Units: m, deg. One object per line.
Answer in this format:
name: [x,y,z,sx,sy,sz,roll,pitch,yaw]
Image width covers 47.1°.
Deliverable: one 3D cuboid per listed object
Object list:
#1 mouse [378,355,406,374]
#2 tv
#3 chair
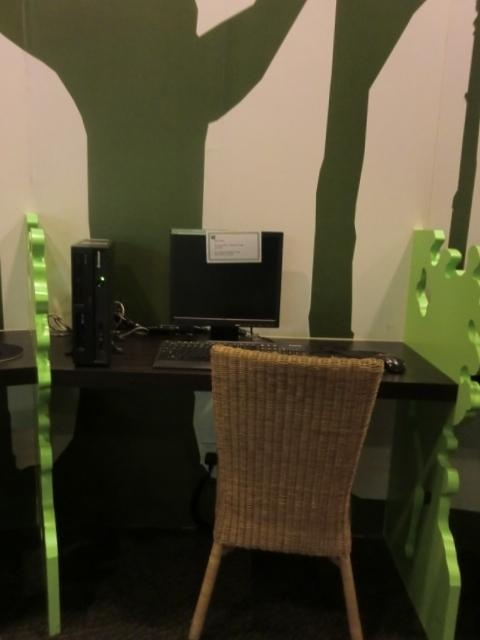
mouse: [0.437,0.130,1.566,0.050,0.042,0.120,0,12,0]
tv: [-0.049,-0.129,1.830,0.248,0.350,0.107,1,11,0]
chair: [0.113,0.329,1.486,0.427,0.969,0.587,1,14,2]
